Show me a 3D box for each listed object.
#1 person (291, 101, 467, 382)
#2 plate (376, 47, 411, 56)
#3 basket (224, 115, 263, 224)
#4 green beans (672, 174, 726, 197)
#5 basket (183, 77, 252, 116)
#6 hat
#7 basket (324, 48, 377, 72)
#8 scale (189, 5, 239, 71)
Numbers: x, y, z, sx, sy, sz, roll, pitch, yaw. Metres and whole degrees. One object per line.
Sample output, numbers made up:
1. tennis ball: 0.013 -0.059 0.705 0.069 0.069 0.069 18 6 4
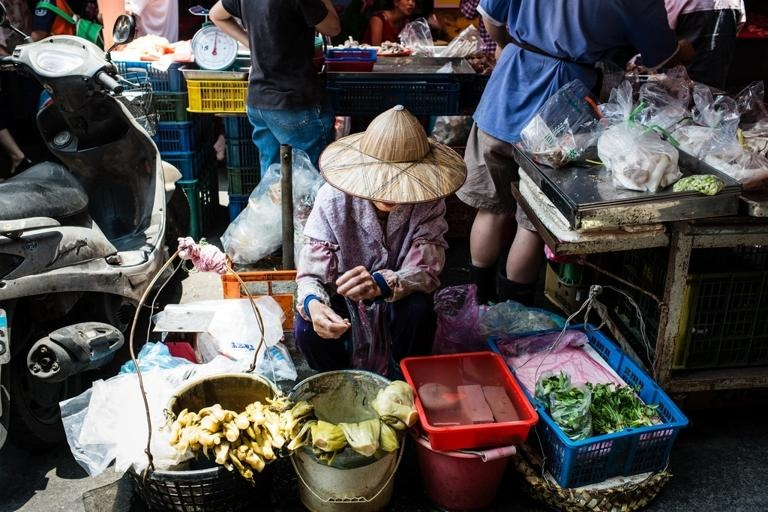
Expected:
1. person: -0.031 -0.052 3.531 1.020 1.538 1.005 1 37 -2
2. plate: 0.098 -1.969 5.727 0.314 0.075 0.257 1 24 6
3. basket: -1.212 -0.750 5.226 0.324 0.857 0.336 -7 29 -10
4. green beans: 1.584 -0.351 2.985 0.242 0.084 0.092 4 24 12
5. basket: -1.393 -1.309 4.938 0.435 0.159 0.295 -4 25 -18
6. hat: 0.041 -0.479 3.171 0.616 0.255 0.637 23 43 22
7. basket: -0.285 -1.625 4.936 0.348 0.154 0.284 1 36 0
8. scale: -1.415 -1.792 4.902 0.365 0.552 0.111 -7 12 -2
